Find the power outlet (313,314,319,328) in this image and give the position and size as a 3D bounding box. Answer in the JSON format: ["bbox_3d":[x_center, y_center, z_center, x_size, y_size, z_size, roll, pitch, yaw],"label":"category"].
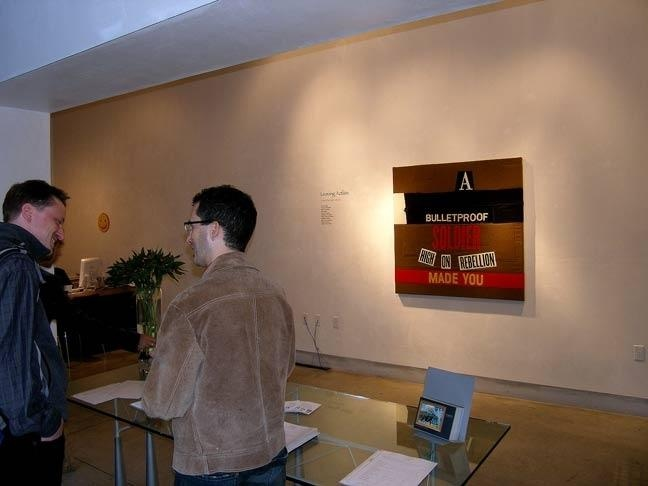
[{"bbox_3d":[-0.091,0.978,5.785,0.075,0.148,0.017,0,3,21],"label":"power outlet"}]

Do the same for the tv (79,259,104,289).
[{"bbox_3d":[-3.318,0.443,6.465,0.139,0.396,0.392,4,3,27],"label":"tv"}]

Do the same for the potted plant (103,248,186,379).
[{"bbox_3d":[-1.264,0.439,3.249,0.492,0.730,0.500,-9,-7,-4],"label":"potted plant"}]

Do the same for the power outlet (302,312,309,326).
[{"bbox_3d":[-0.238,0.983,5.871,0.094,0.166,0.008,1,4,30],"label":"power outlet"}]

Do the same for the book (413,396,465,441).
[{"bbox_3d":[0.554,0.833,2.186,0.202,0.156,0.098,11,-2,24],"label":"book"}]

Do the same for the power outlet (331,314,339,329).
[{"bbox_3d":[0.148,0.980,5.643,0.112,0.180,0.013,1,4,33],"label":"power outlet"}]
